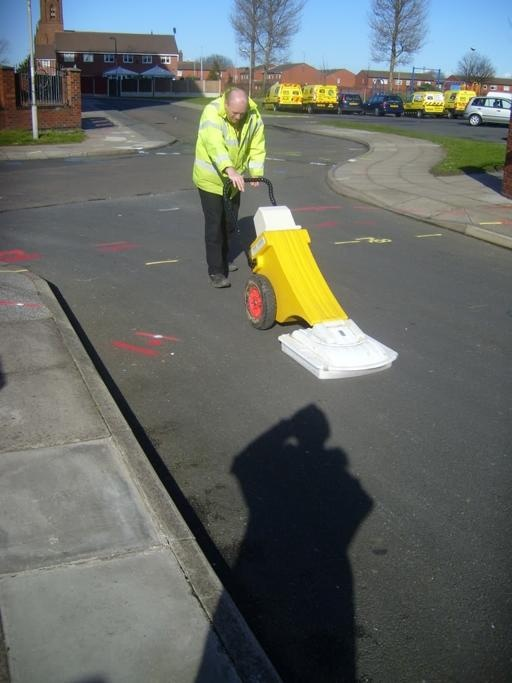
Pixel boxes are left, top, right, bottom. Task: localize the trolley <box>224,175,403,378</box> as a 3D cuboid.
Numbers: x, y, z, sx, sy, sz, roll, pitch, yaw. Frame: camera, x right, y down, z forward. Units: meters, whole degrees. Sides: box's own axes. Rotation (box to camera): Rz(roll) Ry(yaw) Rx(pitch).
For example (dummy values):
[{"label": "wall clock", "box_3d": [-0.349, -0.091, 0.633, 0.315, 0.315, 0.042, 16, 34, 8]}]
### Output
[{"label": "trolley", "box_3d": [0.380, -0.596, 4.484, 0.719, 1.202, 2.026, -11, 29, -24]}]
